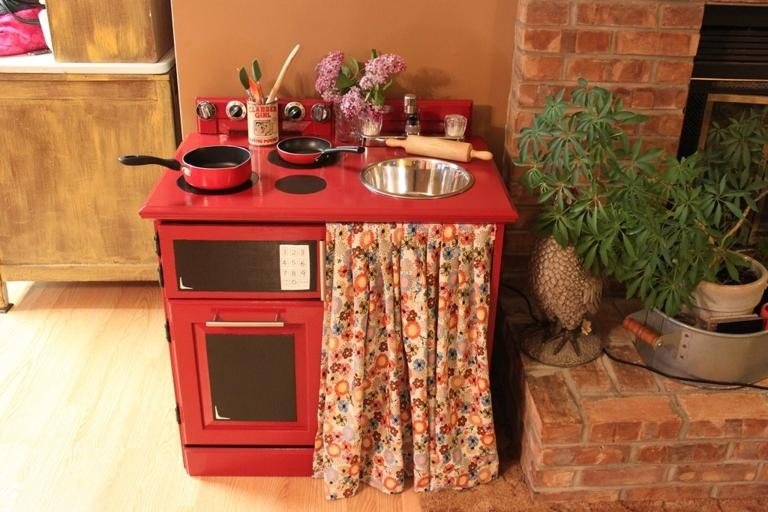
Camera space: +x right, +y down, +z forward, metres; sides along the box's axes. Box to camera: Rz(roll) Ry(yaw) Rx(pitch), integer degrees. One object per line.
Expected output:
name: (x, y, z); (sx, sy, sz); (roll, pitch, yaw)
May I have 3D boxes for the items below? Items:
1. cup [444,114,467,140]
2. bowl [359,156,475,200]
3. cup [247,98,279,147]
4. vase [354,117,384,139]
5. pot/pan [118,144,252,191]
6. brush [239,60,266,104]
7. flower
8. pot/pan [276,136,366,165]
cup: (0.274, -0.505, 2.379); (0.095, 0.080, 0.100); (-1, 24, 0)
bowl: (0.115, -0.245, 2.145); (0.393, 0.129, 0.311); (-1, 24, -2)
cup: (-0.454, -0.511, 2.340); (0.143, 0.167, 0.099); (-13, 28, -24)
vase: (-0.053, -0.489, 2.338); (0.088, 0.056, 0.077); (2, 21, 3)
pot/pan: (-0.651, -0.295, 2.039); (0.382, 0.106, 0.206); (-9, 30, -15)
brush: (-0.506, -0.676, 2.351); (0.084, 0.145, 0.230); (-5, 25, -10)
flower: (-0.093, -0.617, 2.360); (0.333, 0.284, 0.229); (3, 6, 14)
pot/pan: (-0.253, -0.383, 2.238); (0.254, 0.040, 0.143); (12, 31, 15)
